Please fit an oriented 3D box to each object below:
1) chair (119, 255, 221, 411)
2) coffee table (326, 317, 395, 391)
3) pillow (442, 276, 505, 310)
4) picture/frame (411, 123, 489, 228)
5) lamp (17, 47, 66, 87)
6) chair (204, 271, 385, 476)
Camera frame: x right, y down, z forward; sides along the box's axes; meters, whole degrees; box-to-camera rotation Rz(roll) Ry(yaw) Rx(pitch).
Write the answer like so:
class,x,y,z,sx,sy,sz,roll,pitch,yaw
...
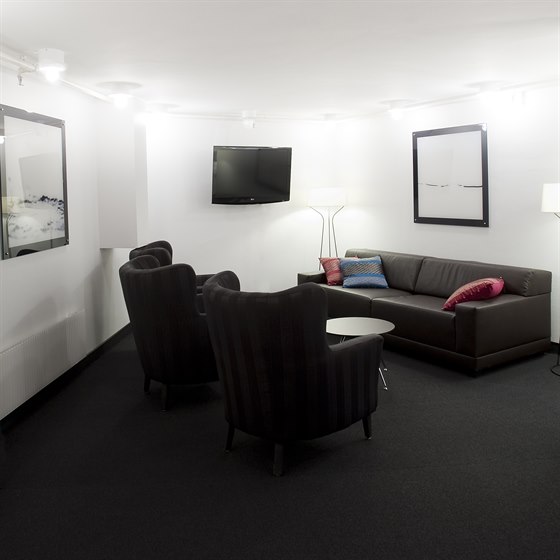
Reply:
class,x,y,z,sx,sy,sz,roll,pitch,yaw
chair,-0.749,0.300,3.418,0.825,1.096,0.975,0,15,-7
coffee table,0.641,0.477,3.578,0.477,0.481,0.554,-3,13,-4
pillow,1.723,0.131,3.898,0.721,0.260,0.315,-4,7,-29
picture/frame,1.899,-1.170,4.862,0.077,1.369,0.973,-5,7,-38
lamp,-1.594,-1.445,2.992,0.295,0.248,0.179,7,10,32
chair,0.096,0.371,2.516,0.849,1.117,1.021,6,18,23
